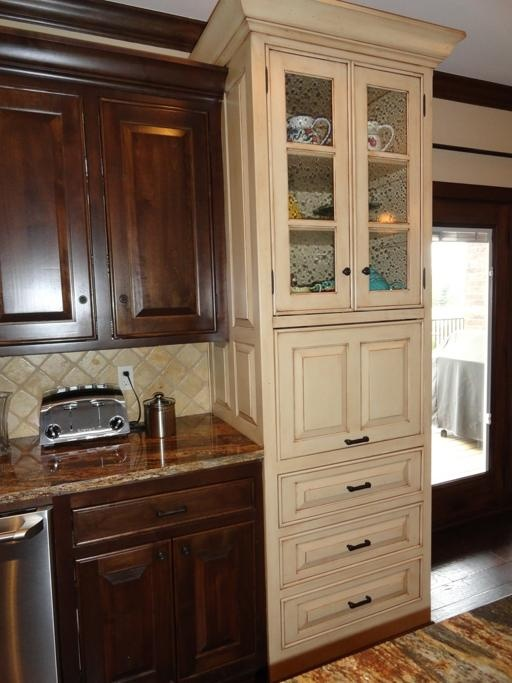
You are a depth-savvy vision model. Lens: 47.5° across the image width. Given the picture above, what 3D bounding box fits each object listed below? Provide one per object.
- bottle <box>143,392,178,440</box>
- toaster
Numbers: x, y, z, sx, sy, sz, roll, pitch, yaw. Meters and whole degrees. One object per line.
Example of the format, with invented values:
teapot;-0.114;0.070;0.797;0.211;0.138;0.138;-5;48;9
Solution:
bottle;-0.358;0.271;2.147;0.112;0.156;0.115;-1;11;0
toaster;-0.642;0.256;2.160;0.319;0.169;0.248;-6;16;-27
